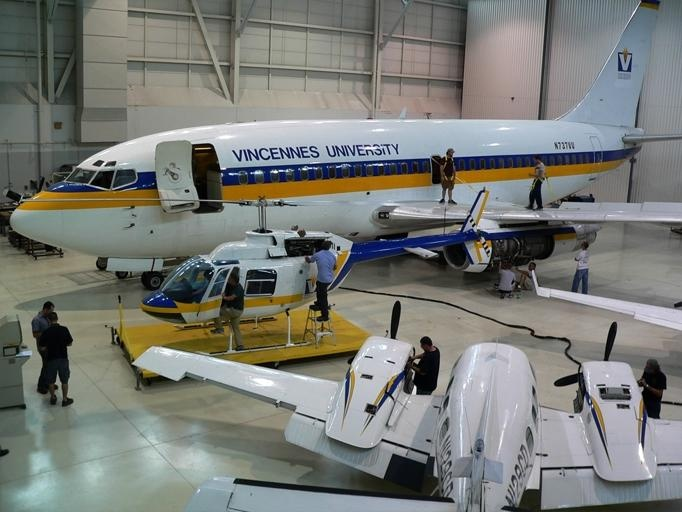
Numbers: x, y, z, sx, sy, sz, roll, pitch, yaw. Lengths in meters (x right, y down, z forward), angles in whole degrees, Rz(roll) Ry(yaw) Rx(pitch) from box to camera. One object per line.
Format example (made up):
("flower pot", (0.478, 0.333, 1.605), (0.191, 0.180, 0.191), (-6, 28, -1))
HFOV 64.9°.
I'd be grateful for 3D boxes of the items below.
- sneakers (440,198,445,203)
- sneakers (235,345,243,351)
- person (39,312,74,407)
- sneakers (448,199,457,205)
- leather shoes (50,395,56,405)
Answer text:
("sneakers", (3.825, -2.058, 20.285), (0.139, 0.159, 0.161), (-16, 42, -2))
("sneakers", (-2.487, 2.244, 13.101), (0.190, 0.131, 0.107), (10, 11, 35))
("person", (-6.014, 2.204, 11.427), (0.575, 1.999, 0.517), (-7, 11, -28))
("sneakers", (4.262, -2.047, 20.483), (0.153, 0.136, 0.327), (4, 11, 29))
("leather shoes", (-6.171, 3.086, 11.500), (0.089, 0.103, 0.244), (2, 11, -7))
